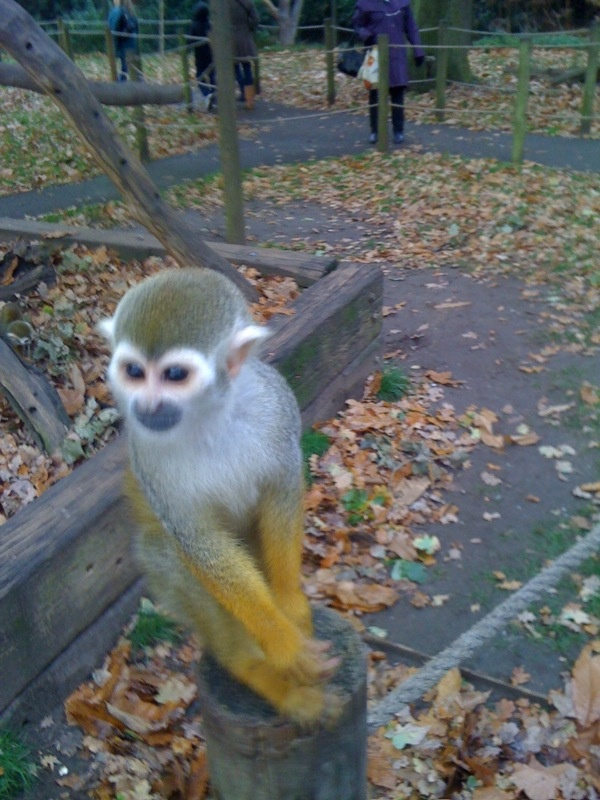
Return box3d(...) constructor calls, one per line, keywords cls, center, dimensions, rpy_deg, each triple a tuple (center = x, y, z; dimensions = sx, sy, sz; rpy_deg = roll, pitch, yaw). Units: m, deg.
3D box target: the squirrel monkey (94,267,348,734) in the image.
box3d(cls="squirrel monkey", center=(-0.213, 0.268, 2.303), dimensions=(0.523, 1.262, 0.851), rpy_deg=(-5, 14, 17))
